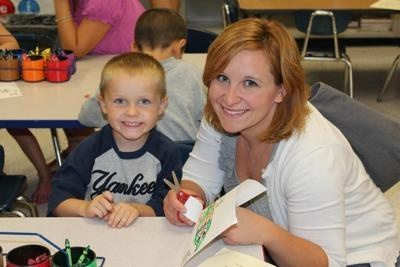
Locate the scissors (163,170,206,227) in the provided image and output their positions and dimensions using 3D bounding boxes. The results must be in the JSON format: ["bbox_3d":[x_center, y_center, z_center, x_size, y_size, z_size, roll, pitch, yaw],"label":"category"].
[{"bbox_3d":[-0.103,0.299,1.480,0.164,0.230,0.057,-28,-10,-27],"label":"scissors"}]

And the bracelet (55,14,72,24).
[{"bbox_3d":[-1.176,-0.978,2.910,0.164,0.087,0.099,1,23,1],"label":"bracelet"}]

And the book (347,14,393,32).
[{"bbox_3d":[2.283,-1.486,4.534,0.392,0.092,0.391,1,12,7],"label":"book"}]

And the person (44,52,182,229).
[{"bbox_3d":[-0.392,0.120,1.661,0.672,0.958,0.570,-1,15,-24],"label":"person"}]
